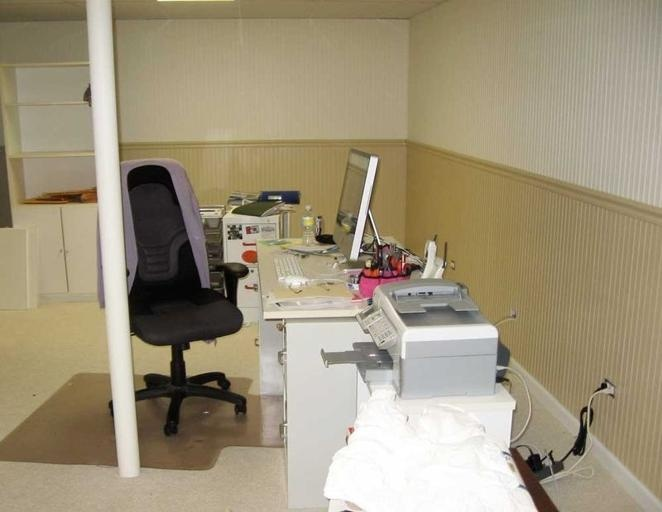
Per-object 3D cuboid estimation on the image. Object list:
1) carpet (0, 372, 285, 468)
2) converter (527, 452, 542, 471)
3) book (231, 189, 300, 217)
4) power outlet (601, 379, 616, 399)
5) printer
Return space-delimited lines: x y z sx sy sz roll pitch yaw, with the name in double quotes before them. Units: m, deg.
"carpet" -1.174 1.071 3.573 1.679 0.038 0.976 2 16 4
"converter" 1.069 1.085 2.856 0.084 0.125 0.035 4 6 9
"book" -0.592 -0.484 4.947 0.370 0.121 0.383 -1 14 31
"power outlet" 1.540 0.739 3.037 0.022 0.080 0.059 0 0 -16
"printer" 0.336 0.292 2.061 0.477 0.256 0.503 -1 11 -5
